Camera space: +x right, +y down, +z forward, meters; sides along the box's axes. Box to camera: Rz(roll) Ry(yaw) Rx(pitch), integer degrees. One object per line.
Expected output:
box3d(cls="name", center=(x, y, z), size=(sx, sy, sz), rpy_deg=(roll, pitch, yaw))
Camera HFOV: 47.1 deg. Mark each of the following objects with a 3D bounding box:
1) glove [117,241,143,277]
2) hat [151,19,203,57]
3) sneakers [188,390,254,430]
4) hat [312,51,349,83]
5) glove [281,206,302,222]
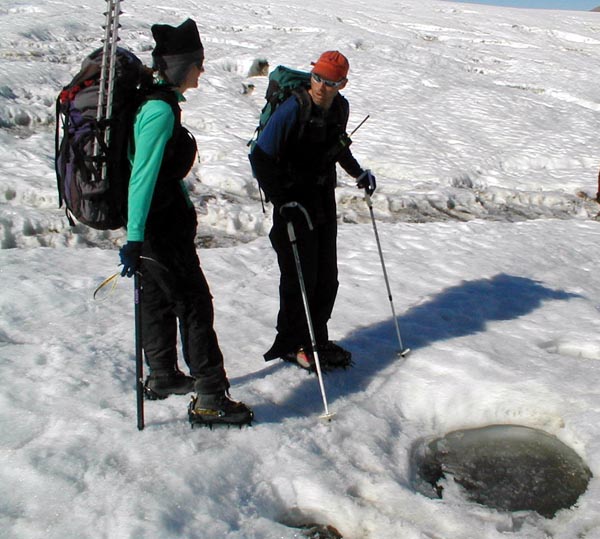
box3d(cls="glove", center=(-0.973, -0.051, 3.980), size=(0.118, 0.257, 0.212), rpy_deg=(1, 22, -12))
box3d(cls="hat", center=(-0.724, -1.372, 4.136), size=(0.257, 0.156, 0.330), rpy_deg=(-21, 33, -32))
box3d(cls="sneakers", center=(-0.496, 0.882, 4.267), size=(0.558, 0.209, 0.154), rpy_deg=(0, 7, -5))
box3d(cls="hat", center=(0.215, -1.379, 4.667), size=(0.234, 0.202, 0.268), rpy_deg=(5, 19, 0))
box3d(cls="glove", center=(-0.056, -0.393, 4.739), size=(0.059, 0.128, 0.196), rpy_deg=(16, 22, 22))
